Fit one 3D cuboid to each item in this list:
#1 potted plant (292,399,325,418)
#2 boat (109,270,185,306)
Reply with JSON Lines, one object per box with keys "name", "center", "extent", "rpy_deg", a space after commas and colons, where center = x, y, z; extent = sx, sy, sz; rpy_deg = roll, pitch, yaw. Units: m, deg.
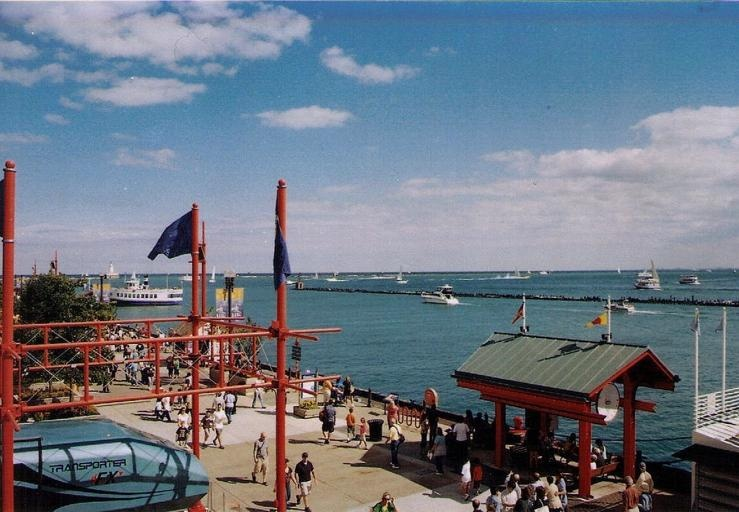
{"name": "potted plant", "center": [-3.199, 8.482, 45.017], "extent": [1.204, 0.622, 1.153], "rpy_deg": [2, -1, -38]}
{"name": "boat", "center": [-48.712, 7.572, 178.836], "extent": [13.300, 6.693, 16.138], "rpy_deg": [0, -4, -5]}
